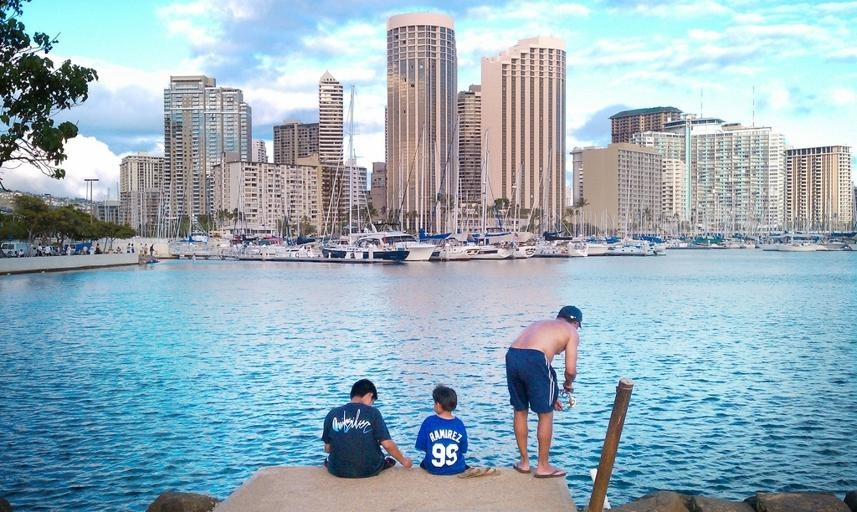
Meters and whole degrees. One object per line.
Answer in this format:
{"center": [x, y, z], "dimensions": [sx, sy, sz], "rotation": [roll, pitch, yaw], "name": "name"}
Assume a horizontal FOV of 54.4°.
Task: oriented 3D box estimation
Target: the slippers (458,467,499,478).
{"center": [1.394, 6.084, 23.543], "dimensions": [0.753, 0.145, 0.397], "rotation": [-7, -2, -13], "name": "slippers"}

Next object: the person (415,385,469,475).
{"center": [0.382, 4.871, 23.551], "dimensions": [1.370, 2.492, 0.549], "rotation": [1, 1, 1], "name": "person"}

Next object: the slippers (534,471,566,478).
{"center": [3.448, 6.172, 23.581], "dimensions": [0.807, 0.204, 0.297], "rotation": [-5, -1, 4], "name": "slippers"}

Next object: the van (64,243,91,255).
{"center": [-47.201, -1.002, 112.450], "dimensions": [2.955, 1.000, 2.202], "rotation": [0, 0, -20], "name": "van"}
